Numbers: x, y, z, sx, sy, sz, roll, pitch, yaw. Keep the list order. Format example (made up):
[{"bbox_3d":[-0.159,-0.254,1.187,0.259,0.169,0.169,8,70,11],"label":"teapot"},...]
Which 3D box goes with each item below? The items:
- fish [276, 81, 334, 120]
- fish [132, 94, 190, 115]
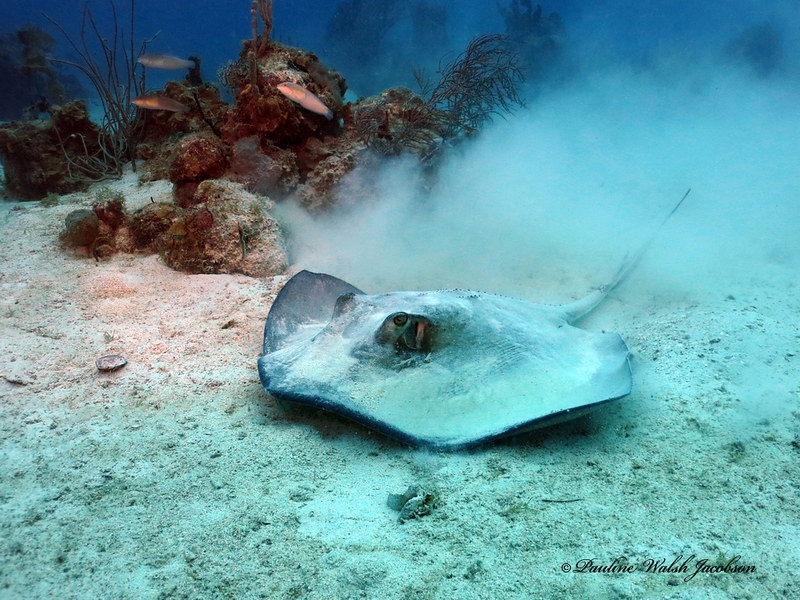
[{"bbox_3d":[-1.045,-2.279,7.235,0.571,0.353,0.559,15,29,-1],"label":"fish"},{"bbox_3d":[-3.052,-2.480,8.076,0.509,0.227,0.449,-10,38,-38],"label":"fish"}]
